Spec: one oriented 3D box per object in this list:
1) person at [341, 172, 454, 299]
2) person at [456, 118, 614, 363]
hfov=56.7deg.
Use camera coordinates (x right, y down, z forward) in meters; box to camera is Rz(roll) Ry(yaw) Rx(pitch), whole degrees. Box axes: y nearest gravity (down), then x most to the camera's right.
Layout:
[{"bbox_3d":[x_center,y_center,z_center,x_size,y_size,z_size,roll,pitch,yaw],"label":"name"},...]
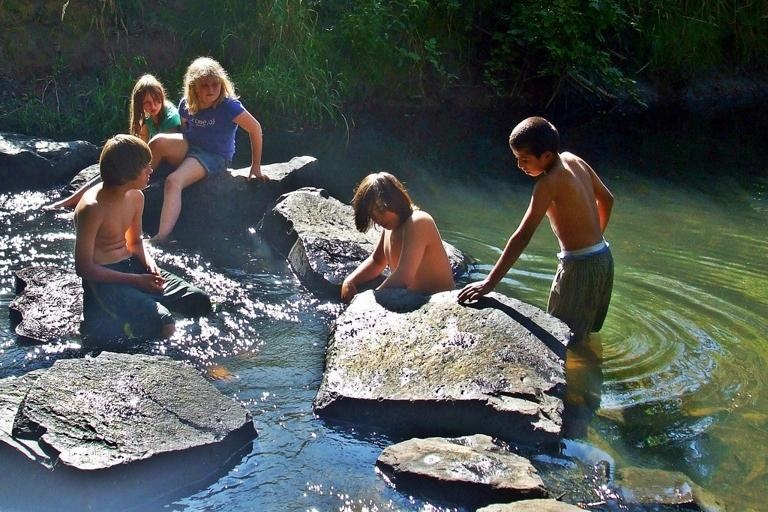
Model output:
[{"bbox_3d":[0.155,-0.115,6.876,1.116,1.338,0.495,7,16,9],"label":"person"},{"bbox_3d":[1.579,-0.206,6.645,1.393,2.086,0.488,0,17,-14],"label":"person"}]
